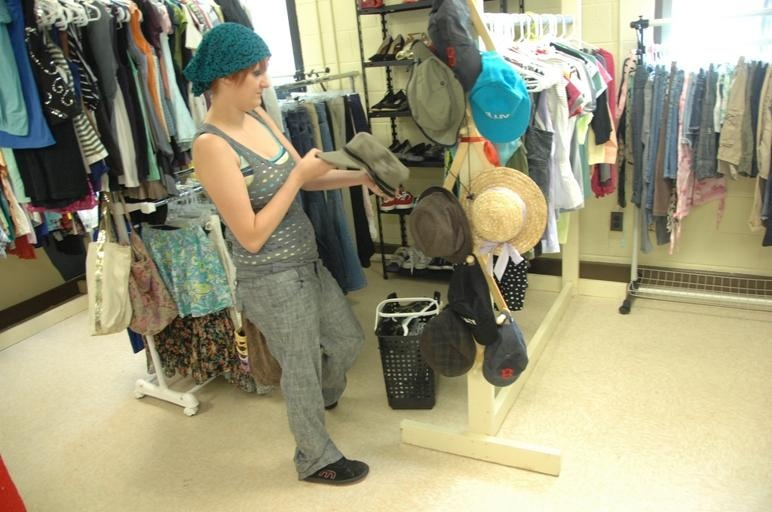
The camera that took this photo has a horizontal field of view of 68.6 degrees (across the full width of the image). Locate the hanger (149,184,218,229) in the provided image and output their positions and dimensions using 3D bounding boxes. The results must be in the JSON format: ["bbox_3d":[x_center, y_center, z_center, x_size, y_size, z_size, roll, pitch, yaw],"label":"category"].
[{"bbox_3d":[-1.380,-0.316,4.020,0.400,0.369,0.120,-1,-8,11],"label":"hanger"}]

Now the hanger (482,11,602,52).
[{"bbox_3d":[1.015,-1.508,3.800,0.466,0.253,1.240,10,24,34],"label":"hanger"}]

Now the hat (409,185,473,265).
[{"bbox_3d":[0.301,-0.171,3.034,0.348,0.394,0.158,15,26,38],"label":"hat"}]

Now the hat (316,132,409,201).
[{"bbox_3d":[-0.107,-0.506,2.969,0.461,0.201,0.289,20,21,-18],"label":"hat"}]

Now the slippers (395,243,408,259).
[{"bbox_3d":[0.170,-0.048,5.541,0.104,0.129,0.048,27,-15,10],"label":"slippers"}]

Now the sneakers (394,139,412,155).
[{"bbox_3d":[0.148,-1.035,5.320,0.086,0.082,0.233,2,26,14],"label":"sneakers"}]

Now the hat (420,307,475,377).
[{"bbox_3d":[0.369,0.480,3.322,0.296,0.395,0.194,-11,9,15],"label":"hat"}]

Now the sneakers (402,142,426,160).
[{"bbox_3d":[0.259,-0.984,5.069,0.151,0.066,0.209,12,46,34],"label":"sneakers"}]

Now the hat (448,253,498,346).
[{"bbox_3d":[0.489,0.241,3.208,0.279,0.464,0.180,-8,9,40],"label":"hat"}]

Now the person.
[{"bbox_3d":[-0.447,0.099,3.349,0.974,2.769,0.990,9,23,39],"label":"person"}]

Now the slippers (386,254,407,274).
[{"bbox_3d":[0.105,0.078,5.568,0.147,0.198,0.082,7,-2,13],"label":"slippers"}]

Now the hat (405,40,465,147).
[{"bbox_3d":[0.263,-0.830,2.942,0.323,0.528,0.129,2,13,32],"label":"hat"}]

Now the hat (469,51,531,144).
[{"bbox_3d":[0.573,-0.821,2.863,0.343,0.441,0.139,0,20,20],"label":"hat"}]

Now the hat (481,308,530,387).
[{"bbox_3d":[0.676,0.566,3.242,0.247,0.476,0.158,-3,21,3],"label":"hat"}]

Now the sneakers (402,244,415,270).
[{"bbox_3d":[0.208,0.020,5.438,0.077,0.093,0.221,3,46,5],"label":"sneakers"}]
